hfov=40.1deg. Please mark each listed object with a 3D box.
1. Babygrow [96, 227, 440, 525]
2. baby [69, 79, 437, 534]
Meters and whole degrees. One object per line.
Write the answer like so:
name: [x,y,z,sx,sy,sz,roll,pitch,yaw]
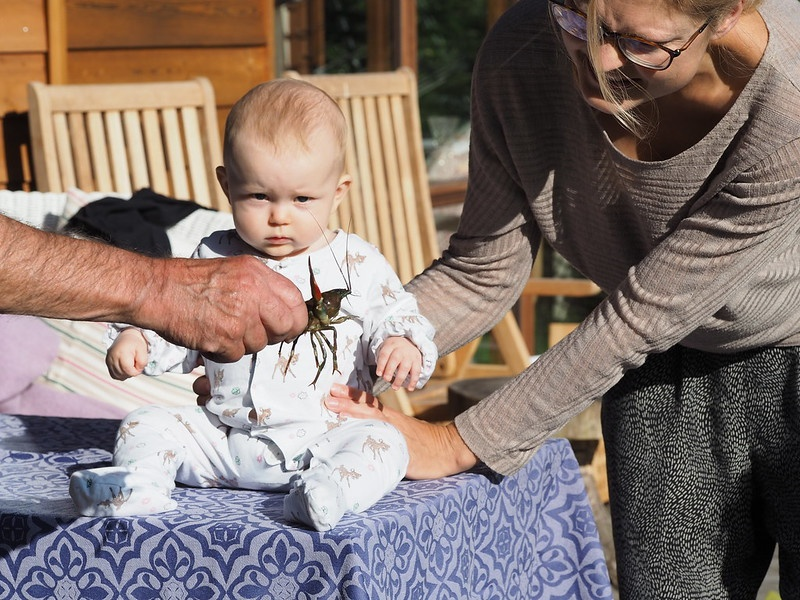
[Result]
Babygrow: [-0.224,0.143,1.970,0.424,0.378,0.504,6,3,16]
baby: [-0.109,-0.053,2.120,0.678,1.006,0.681,4,2,9]
